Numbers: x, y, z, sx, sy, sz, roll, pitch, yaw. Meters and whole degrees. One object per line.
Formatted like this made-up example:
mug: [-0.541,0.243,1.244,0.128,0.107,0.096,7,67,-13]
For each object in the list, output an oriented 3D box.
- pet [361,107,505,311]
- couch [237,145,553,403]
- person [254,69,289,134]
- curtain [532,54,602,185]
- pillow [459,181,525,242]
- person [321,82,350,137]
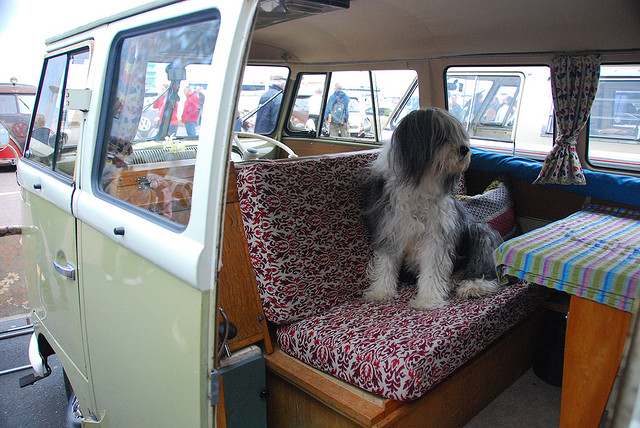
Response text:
pet: [0.796,-0.050,2.868,1.000,1.353,0.873,-1,9,-29]
couch: [0.710,0.204,2.989,2.233,1.320,1.186,-8,4,-45]
person: [-0.674,-1.535,5.623,0.314,0.853,0.440,-1,10,-32]
curtain: [2.010,-0.743,3.327,0.372,1.026,0.181,9,10,31]
pillow: [1.445,-0.081,3.569,0.476,0.551,0.556,11,18,22]
person: [0.233,-1.270,5.350,0.339,0.854,0.210,-1,39,-4]
